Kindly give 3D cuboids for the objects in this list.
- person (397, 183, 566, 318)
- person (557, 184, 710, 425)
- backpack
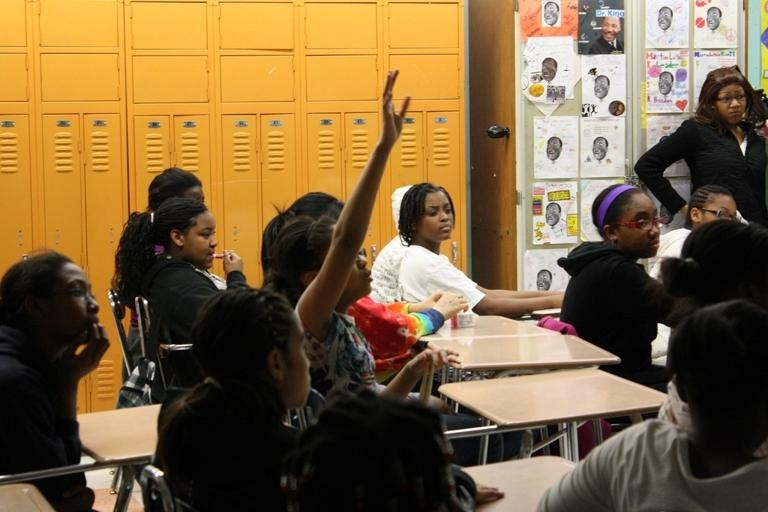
[{"bbox_3d":[0.624,0.070,3.690,1.226,0.851,0.537,1,-1,-12],"label":"person"},{"bbox_3d":[1.236,0.303,2.909,0.764,1.246,0.521,-1,12,34],"label":"person"},{"bbox_3d":[-1.015,0.461,2.780,0.245,0.559,0.326,-32,-43,9],"label":"backpack"}]
